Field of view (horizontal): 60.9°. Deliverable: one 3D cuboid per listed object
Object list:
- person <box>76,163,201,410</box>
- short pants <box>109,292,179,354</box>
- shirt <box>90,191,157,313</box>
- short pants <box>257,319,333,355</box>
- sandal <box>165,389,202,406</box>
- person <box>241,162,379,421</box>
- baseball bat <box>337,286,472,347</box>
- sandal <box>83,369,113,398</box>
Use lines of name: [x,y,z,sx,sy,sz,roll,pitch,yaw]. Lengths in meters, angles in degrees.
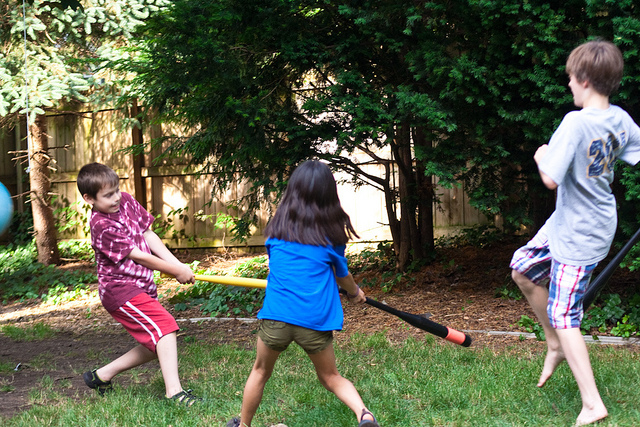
person: [-1.497,0.573,4.391,0.867,1.964,0.961,-9,11,-25]
short pants: [-1.401,0.875,4.378,0.503,0.504,0.245,1,11,29]
shirt: [-1.585,0.302,4.459,0.478,0.929,0.450,-11,12,-33]
short pants: [-0.158,0.783,3.681,0.512,0.300,0.238,6,-11,12]
sandal: [-1.089,1.426,4.258,0.302,0.119,0.103,4,-23,12]
person: [-0.122,0.519,3.714,0.799,1.710,0.568,-3,10,7]
baseball bat: [0.864,1.048,5.467,1.724,0.189,0.189,20,-10,-8]
sandal: [-1.796,1.405,4.476,0.141,0.307,0.110,-20,43,-1]
